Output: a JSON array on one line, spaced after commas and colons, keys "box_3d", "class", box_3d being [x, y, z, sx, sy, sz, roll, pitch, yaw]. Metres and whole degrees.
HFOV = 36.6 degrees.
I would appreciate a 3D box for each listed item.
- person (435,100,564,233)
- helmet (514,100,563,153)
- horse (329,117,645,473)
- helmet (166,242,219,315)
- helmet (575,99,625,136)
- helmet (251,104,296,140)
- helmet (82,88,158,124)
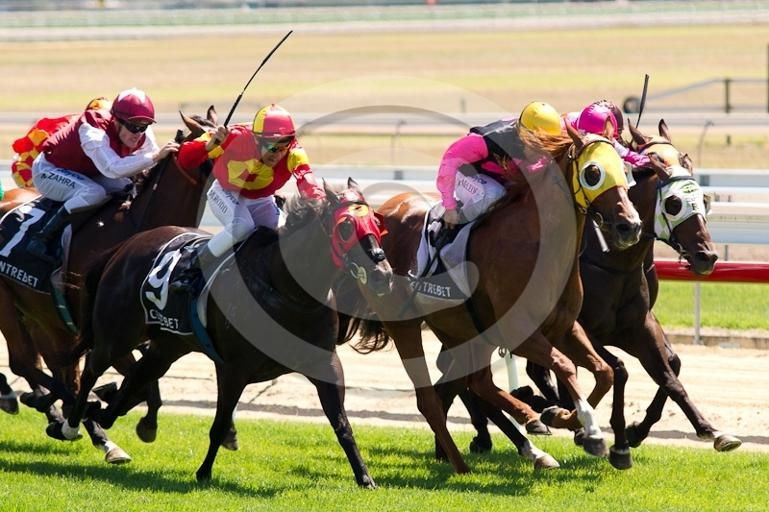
[{"box_3d": [1.071, -0.861, 10.947, 0.706, 0.957, 1.298, 32, -50, -28], "class": "person"}, {"box_3d": [1.446, -1.230, 10.803, 0.450, 0.338, 0.405, 43, -9, 22], "class": "helmet"}, {"box_3d": [0.906, 0.500, 11.679, 1.206, 3.318, 4.627, 0, -6, -29], "class": "horse"}, {"box_3d": [-1.750, 0.190, 10.562, 0.251, 0.640, 0.409, 5, -8, -33], "class": "helmet"}, {"box_3d": [2.133, -1.305, 11.411, 0.470, 0.413, 0.333, -16, 23, -19], "class": "helmet"}, {"box_3d": [-1.014, -1.229, 10.519, 0.385, 0.289, 0.291, -1, 12, -6], "class": "helmet"}, {"box_3d": [-2.506, -1.460, 11.421, 0.313, 0.240, 0.388, -3, 30, -45], "class": "helmet"}]
